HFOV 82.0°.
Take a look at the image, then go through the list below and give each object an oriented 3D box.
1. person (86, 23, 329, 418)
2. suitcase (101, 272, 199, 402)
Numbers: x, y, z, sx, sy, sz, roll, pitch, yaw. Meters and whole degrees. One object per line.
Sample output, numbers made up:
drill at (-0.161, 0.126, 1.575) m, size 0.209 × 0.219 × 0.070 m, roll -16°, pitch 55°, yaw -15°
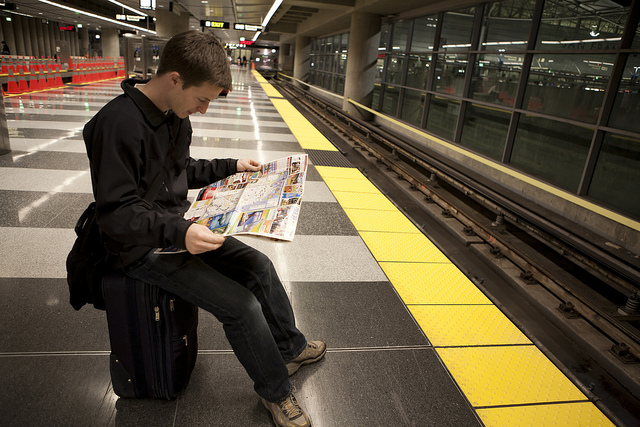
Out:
person at (-0.591, 0.061, 2.259) m, size 1.280 × 2.150 × 0.890 m, roll 6°, pitch 22°, yaw 5°
suitcase at (-1.020, 0.748, 2.408) m, size 0.473 × 0.798 × 0.533 m, roll 2°, pitch 11°, yaw 15°
